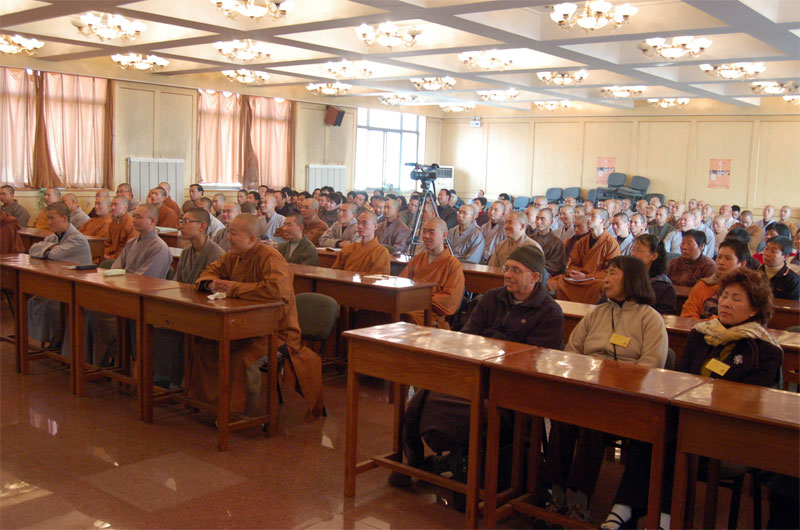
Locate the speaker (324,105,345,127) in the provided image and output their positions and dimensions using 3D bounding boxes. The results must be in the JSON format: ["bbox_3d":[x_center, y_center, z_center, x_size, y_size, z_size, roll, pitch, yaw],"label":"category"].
[{"bbox_3d":[-1.804,-4.113,15.685,0.275,0.483,0.531,24,19,26],"label":"speaker"}]

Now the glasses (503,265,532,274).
[{"bbox_3d":[0.809,0.050,3.908,0.114,0.045,0.084,11,-6,-23],"label":"glasses"}]

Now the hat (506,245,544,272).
[{"bbox_3d":[0.867,-0.028,3.928,0.185,0.131,0.209,16,7,41],"label":"hat"}]
